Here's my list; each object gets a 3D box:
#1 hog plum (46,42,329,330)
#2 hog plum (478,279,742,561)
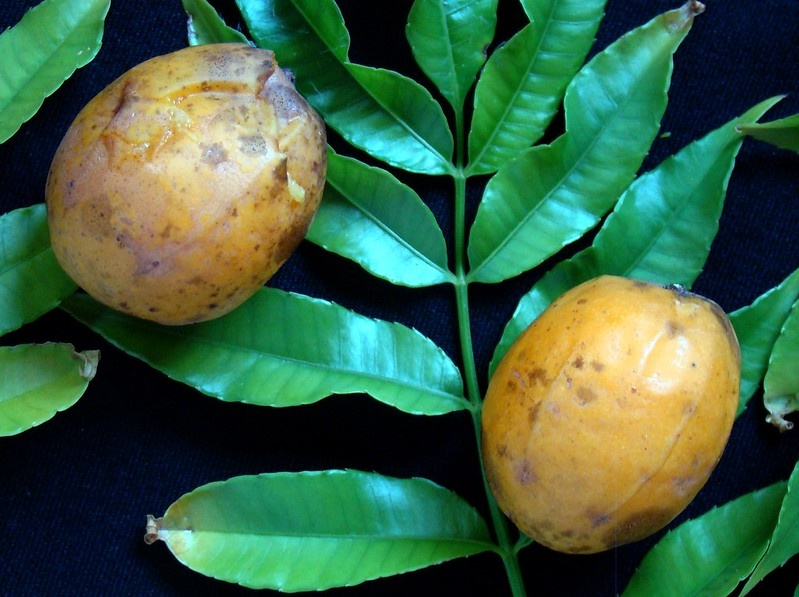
[{"bbox_3d":[-0.222,-0.121,1.046,0.243,0.306,0.236,48,7,1],"label":"hog plum"},{"bbox_3d":[0.232,0.133,1.026,0.230,0.297,0.220,36,1,33],"label":"hog plum"}]
